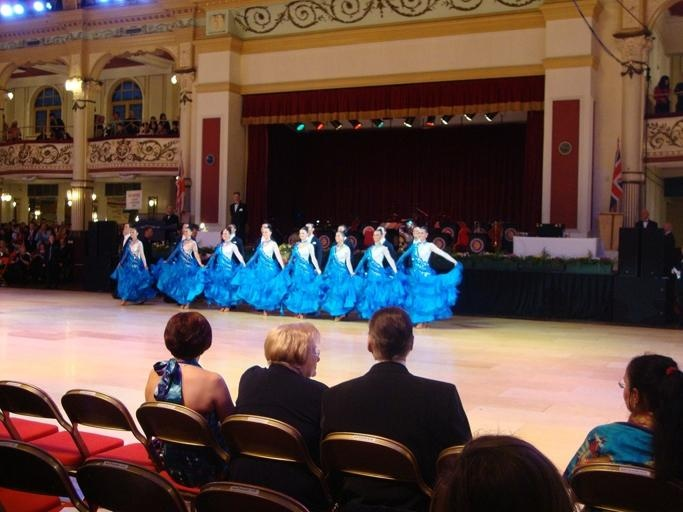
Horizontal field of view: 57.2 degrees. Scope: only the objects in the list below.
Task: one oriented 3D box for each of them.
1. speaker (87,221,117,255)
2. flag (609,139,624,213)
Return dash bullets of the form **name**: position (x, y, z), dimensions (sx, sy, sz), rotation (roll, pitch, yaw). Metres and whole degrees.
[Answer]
- **speaker**: position (-5.542, -0.423, 14.563), dimensions (0.562, 0.960, 0.419), rotation (3, 7, 6)
- **flag**: position (5.600, -1.647, 12.789), dimensions (0.250, 1.059, 1.196), rotation (1, 1, 24)
